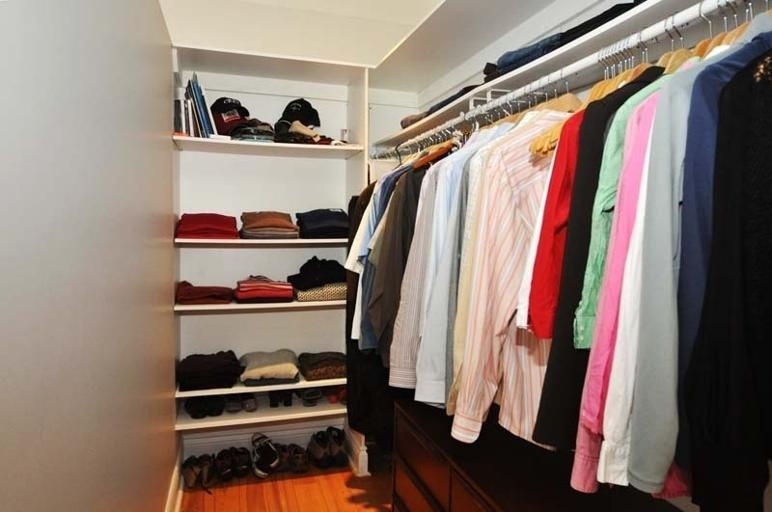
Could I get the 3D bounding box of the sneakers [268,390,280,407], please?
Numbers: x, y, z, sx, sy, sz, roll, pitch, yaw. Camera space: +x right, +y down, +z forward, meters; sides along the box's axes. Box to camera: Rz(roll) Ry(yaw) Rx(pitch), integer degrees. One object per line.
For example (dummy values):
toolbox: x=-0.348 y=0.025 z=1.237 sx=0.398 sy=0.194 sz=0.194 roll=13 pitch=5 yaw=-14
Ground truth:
sneakers: x=-0.663 y=0.848 z=3.301 sx=0.083 sy=0.117 sz=0.078 roll=2 pitch=3 yaw=-6

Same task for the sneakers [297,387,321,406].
sneakers: x=-0.461 y=0.846 z=3.366 sx=0.159 sy=0.099 sz=0.156 roll=0 pitch=3 yaw=-11

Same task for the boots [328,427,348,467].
boots: x=-0.289 y=1.176 z=3.464 sx=0.114 sy=0.135 sz=0.367 roll=-8 pitch=9 yaw=-8

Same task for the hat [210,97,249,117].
hat: x=-0.911 y=-0.844 z=3.218 sx=0.161 sy=0.091 sz=0.115 roll=-11 pitch=14 yaw=-1

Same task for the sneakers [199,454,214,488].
sneakers: x=-1.029 y=1.223 z=3.176 sx=0.058 sy=0.176 sz=0.070 roll=10 pitch=-41 yaw=-34

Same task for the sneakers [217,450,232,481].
sneakers: x=-0.930 y=1.217 z=3.203 sx=0.060 sy=0.078 sz=0.179 roll=0 pitch=7 yaw=-12

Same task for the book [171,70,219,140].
book: x=-1.048 y=-0.841 z=3.084 sx=0.307 sy=0.413 sz=0.303 roll=-4 pitch=14 yaw=-21

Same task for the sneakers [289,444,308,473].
sneakers: x=-0.528 y=1.207 z=3.299 sx=0.067 sy=0.072 sz=0.195 roll=0 pitch=3 yaw=-14

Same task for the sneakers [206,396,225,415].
sneakers: x=-0.969 y=0.846 z=3.141 sx=0.086 sy=0.074 sz=0.171 roll=1 pitch=-12 yaw=-11

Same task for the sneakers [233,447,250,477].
sneakers: x=-0.844 y=1.215 z=3.265 sx=0.061 sy=0.069 sz=0.174 roll=-1 pitch=6 yaw=-19

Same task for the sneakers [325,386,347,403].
sneakers: x=-0.296 y=0.838 z=3.355 sx=0.134 sy=0.135 sz=0.087 roll=7 pitch=-12 yaw=-19

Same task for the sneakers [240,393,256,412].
sneakers: x=-0.810 y=0.867 z=3.286 sx=0.081 sy=0.070 sz=0.167 roll=-1 pitch=3 yaw=-15

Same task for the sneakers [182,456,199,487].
sneakers: x=-1.115 y=1.218 z=3.142 sx=0.063 sy=0.071 sz=0.177 roll=15 pitch=-2 yaw=-32

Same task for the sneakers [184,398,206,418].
sneakers: x=-1.063 y=0.846 z=3.087 sx=0.084 sy=0.116 sz=0.042 roll=-6 pitch=-22 yaw=-6

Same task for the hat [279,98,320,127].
hat: x=-0.523 y=-0.861 z=3.388 sx=0.222 sy=0.187 sz=0.243 roll=0 pitch=3 yaw=2
